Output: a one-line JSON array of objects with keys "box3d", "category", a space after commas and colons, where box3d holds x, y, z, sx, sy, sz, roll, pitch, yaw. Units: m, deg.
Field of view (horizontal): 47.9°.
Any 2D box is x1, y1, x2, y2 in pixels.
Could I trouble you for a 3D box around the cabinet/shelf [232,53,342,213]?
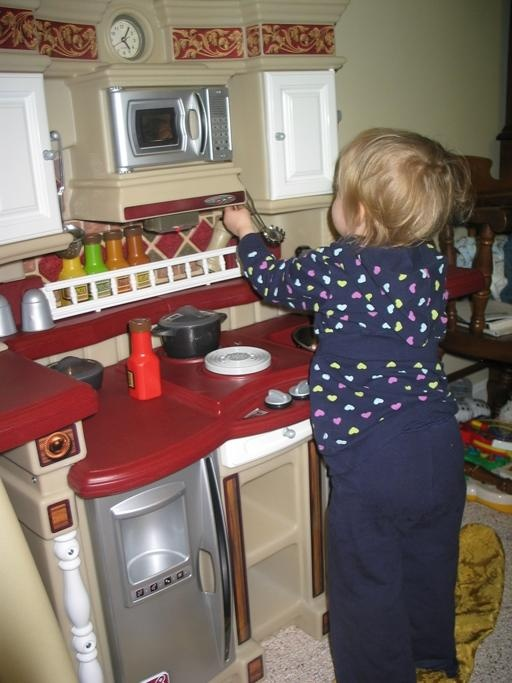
[{"box3d": [0.075, -0.705, 1.977, 0.385, 0.411, 0.330, -15, 28, -22], "category": "cabinet/shelf"}]
